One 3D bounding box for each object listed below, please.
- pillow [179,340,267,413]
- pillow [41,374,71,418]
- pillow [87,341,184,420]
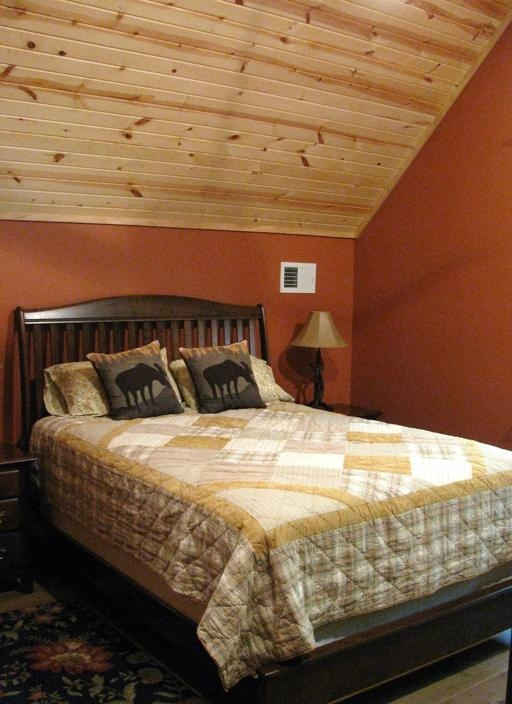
[{"bbox_3d":[-0.174,0.121,2.946,0.406,0.360,0.118,-6,-24,-39],"label":"pillow"},{"bbox_3d":[-1.033,0.211,2.836,0.059,0.209,0.141,-24,-14,23],"label":"pillow"},{"bbox_3d":[-0.592,0.135,2.723,0.396,0.358,0.116,-9,-25,-48],"label":"pillow"}]
